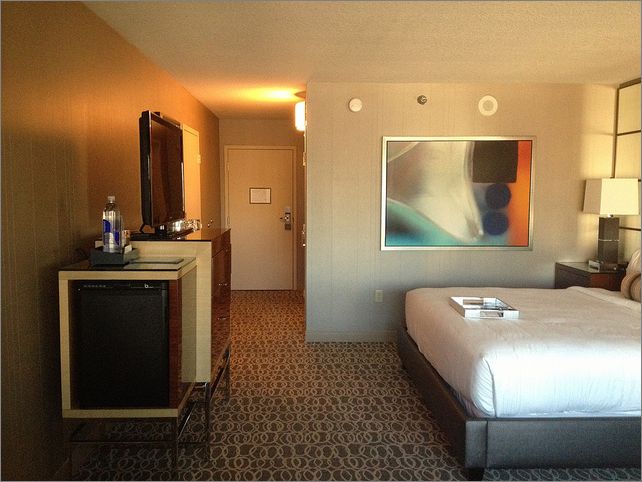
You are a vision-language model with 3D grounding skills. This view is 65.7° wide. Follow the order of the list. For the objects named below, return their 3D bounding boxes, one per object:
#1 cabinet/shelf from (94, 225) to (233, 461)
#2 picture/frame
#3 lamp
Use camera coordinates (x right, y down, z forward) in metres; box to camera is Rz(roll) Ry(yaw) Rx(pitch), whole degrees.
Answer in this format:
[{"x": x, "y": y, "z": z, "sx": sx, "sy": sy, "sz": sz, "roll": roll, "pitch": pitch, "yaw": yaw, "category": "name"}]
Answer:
[{"x": -1.083, "y": 0.691, "z": 3.295, "sx": 0.810, "sy": 1.524, "sz": 1.546, "roll": 0, "pitch": 5, "yaw": -5, "category": "cabinet/shelf"}, {"x": 1.474, "y": -0.581, "z": 5.415, "sx": 1.275, "sy": 0.926, "sz": 0.043, "roll": -1, "pitch": 6, "yaw": 0, "category": "picture/frame"}, {"x": 3.052, "y": -0.208, "z": 5.150, "sx": 0.516, "sy": 0.894, "sz": 0.525, "roll": -1, "pitch": 11, "yaw": 24, "category": "lamp"}]
